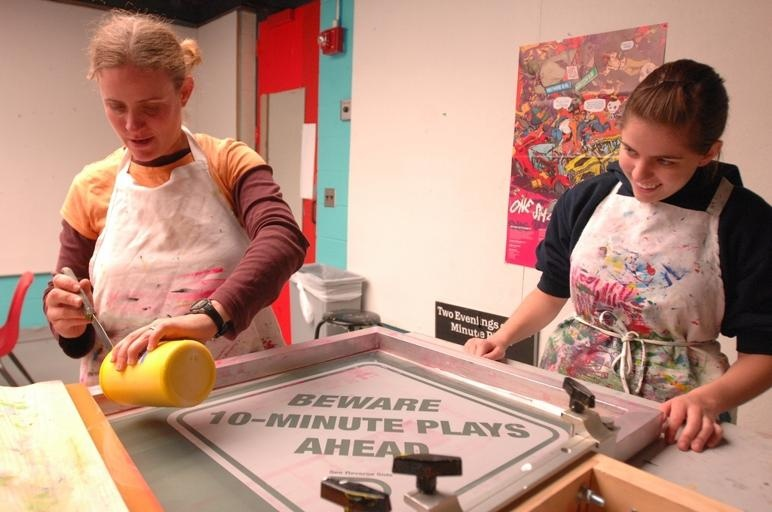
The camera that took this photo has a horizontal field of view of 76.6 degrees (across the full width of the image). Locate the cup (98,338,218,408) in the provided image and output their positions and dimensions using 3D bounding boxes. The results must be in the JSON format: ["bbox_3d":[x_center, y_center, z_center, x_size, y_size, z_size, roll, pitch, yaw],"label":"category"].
[{"bbox_3d":[-0.510,0.254,1.073,0.230,0.140,0.089,3,13,11],"label":"cup"}]

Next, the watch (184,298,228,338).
[{"bbox_3d":[-0.441,0.154,1.203,0.078,0.086,0.065,10,16,35],"label":"watch"}]

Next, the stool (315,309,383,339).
[{"bbox_3d":[-0.256,0.419,3.025,0.367,0.185,0.456,-1,12,-8],"label":"stool"}]

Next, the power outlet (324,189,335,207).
[{"bbox_3d":[-0.434,-0.442,3.715,0.027,0.151,0.149,-1,3,-45],"label":"power outlet"}]
